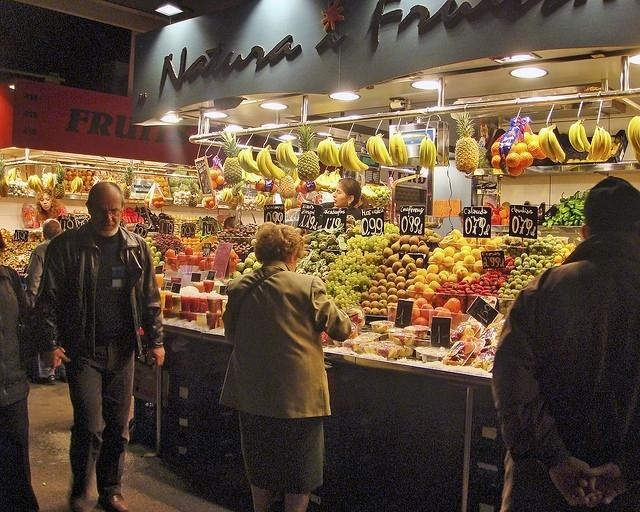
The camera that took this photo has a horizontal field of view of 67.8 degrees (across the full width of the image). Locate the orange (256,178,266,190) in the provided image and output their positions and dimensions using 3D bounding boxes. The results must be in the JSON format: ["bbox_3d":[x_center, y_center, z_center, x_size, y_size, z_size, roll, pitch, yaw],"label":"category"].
[{"bbox_3d":[-0.787,-0.948,6.345,0.131,0.164,0.129,2,-40,2],"label":"orange"}]

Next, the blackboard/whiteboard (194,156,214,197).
[{"bbox_3d":[-1.557,-1.083,6.390,0.202,0.522,0.668,-1,6,-13],"label":"blackboard/whiteboard"}]

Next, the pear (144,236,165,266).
[{"bbox_3d":[-1.664,-0.049,4.787,0.077,0.248,0.179,-28,-13,15],"label":"pear"}]

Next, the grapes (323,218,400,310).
[{"bbox_3d":[0.351,0.112,3.797,0.406,0.706,0.294,-13,-41,44],"label":"grapes"}]
